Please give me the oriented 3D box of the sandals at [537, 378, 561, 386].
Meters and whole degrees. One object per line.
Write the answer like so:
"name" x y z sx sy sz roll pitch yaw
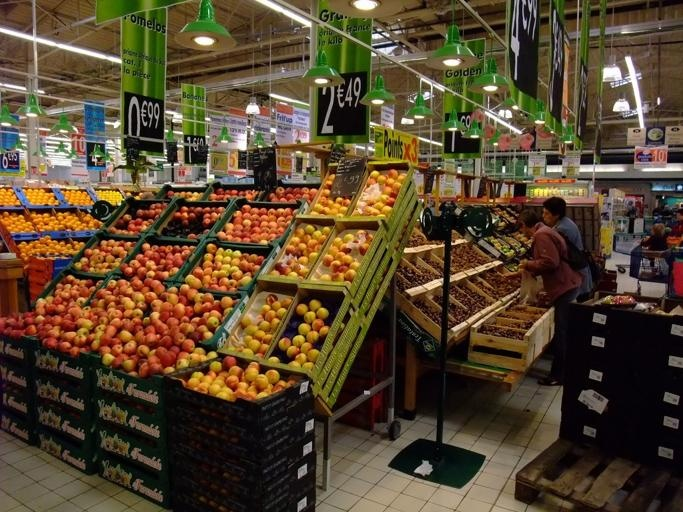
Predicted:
"sandals" 2.495 1.494 5.909 0.204 0.064 0.098 5 12 34

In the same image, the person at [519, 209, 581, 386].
"person" 2.411 0.526 5.782 0.666 2.010 0.587 5 11 25
